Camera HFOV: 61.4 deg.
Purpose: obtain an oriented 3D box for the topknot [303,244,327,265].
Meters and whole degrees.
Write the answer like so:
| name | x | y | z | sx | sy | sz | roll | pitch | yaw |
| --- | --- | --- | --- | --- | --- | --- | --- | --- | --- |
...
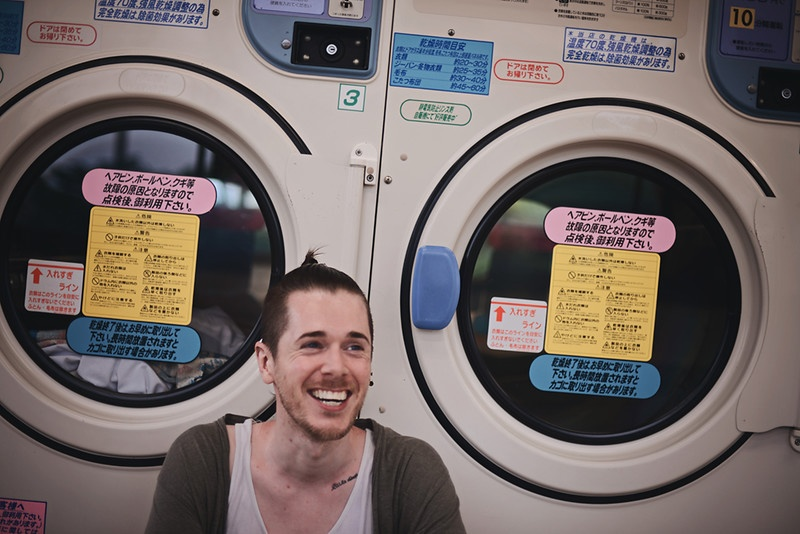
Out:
| name | x | y | z | sx | sy | sz | roll | pitch | yaw |
| --- | --- | --- | --- | --- | --- | --- | --- | --- | --- |
| topknot | -0.318 | -0.036 | 2.428 | 0.035 | 0.100 | 0.098 | 6 | 3 | -1 |
